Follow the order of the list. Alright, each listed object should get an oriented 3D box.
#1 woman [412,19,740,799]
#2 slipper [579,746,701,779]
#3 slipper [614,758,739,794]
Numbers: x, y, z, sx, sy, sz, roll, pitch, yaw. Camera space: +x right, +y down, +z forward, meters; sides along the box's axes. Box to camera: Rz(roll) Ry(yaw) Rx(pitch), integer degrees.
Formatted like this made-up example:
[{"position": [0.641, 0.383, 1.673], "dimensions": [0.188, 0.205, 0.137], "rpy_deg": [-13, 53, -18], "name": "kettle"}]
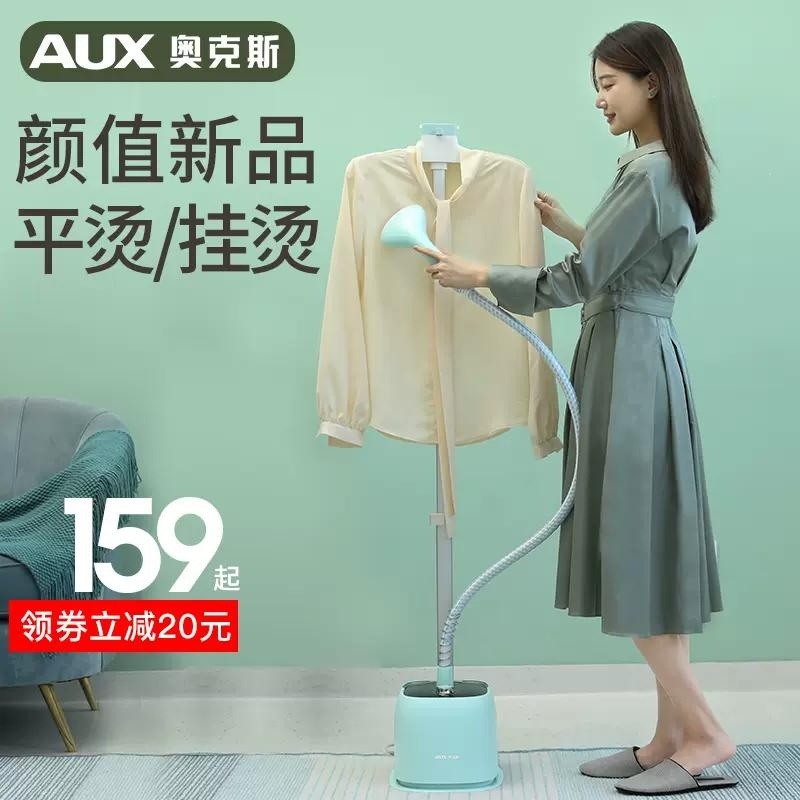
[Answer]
[{"position": [0.457, -0.044, 3.123], "dimensions": [1.381, 2.849, 1.049], "rpy_deg": [1, 2, 20], "name": "woman"}, {"position": [0.511, 0.807, 1.912], "dimensions": [0.178, 0.052, 0.060], "rpy_deg": [-4, 0, 2], "name": "slipper"}, {"position": [0.573, 0.763, 1.800], "dimensions": [0.251, 0.069, 0.096], "rpy_deg": [2, -19, -7], "name": "slipper"}]
